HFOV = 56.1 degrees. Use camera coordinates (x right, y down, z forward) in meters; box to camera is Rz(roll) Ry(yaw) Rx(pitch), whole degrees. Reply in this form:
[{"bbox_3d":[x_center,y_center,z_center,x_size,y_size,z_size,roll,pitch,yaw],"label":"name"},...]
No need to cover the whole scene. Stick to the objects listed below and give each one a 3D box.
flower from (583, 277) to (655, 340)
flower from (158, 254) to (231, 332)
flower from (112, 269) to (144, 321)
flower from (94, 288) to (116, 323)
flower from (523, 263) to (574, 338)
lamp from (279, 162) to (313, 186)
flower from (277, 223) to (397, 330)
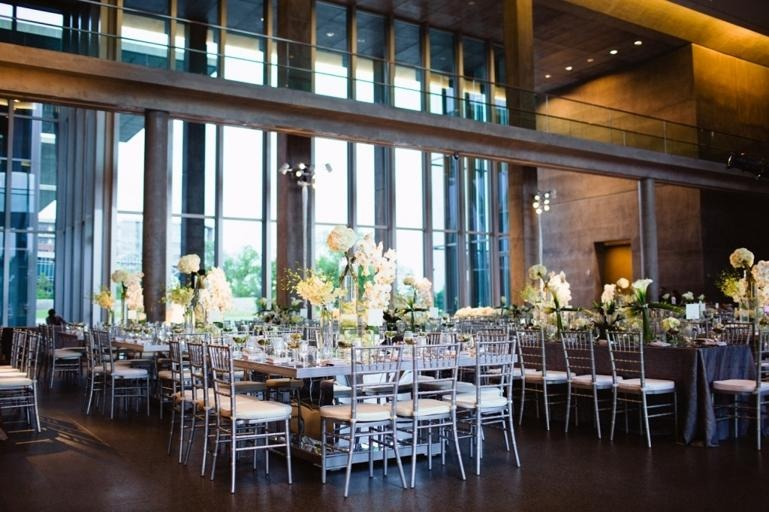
[{"bbox_3d":[4.008,0.899,12.243,0.951,1.065,0.962,3,-16,1],"label":"flower"},{"bbox_3d":[-3.109,0.680,12.062,1.088,1.314,0.962,3,10,-36],"label":"flower"},{"bbox_3d":[-4.908,0.831,13.721,0.544,0.879,0.481,7,-12,-32],"label":"flower"},{"bbox_3d":[-5.346,1.039,13.953,0.422,0.569,0.485,-3,-10,2],"label":"flower"},{"bbox_3d":[2.812,0.539,11.859,0.550,0.829,0.559,-24,15,-25],"label":"flower"},{"bbox_3d":[-1.944,-1.883,16.533,0.800,0.609,0.330,15,14,15],"label":"lamp"},{"bbox_3d":[-0.386,0.198,9.627,1.028,1.271,1.018,-9,15,15],"label":"flower"}]
